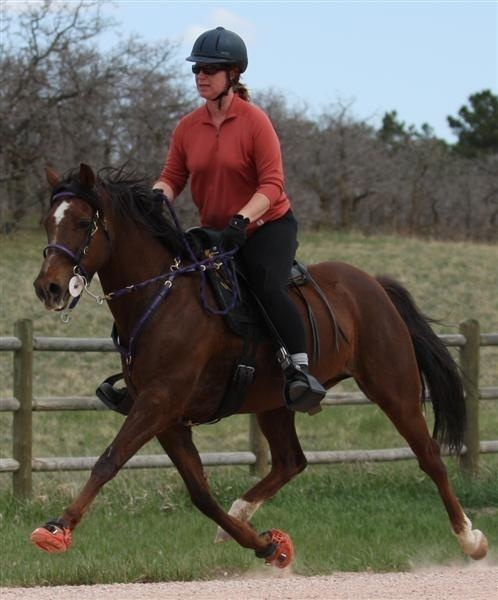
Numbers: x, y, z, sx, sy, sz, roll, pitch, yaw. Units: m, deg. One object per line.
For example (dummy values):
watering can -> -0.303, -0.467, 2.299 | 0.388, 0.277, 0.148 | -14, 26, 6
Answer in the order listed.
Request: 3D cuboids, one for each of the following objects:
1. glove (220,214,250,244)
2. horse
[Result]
glove -> -0.077, -0.427, 6.213 | 0.145, 0.186, 0.070 | 16, -23, 31
horse -> 0.098, 0.606, 6.824 | 3.981, 2.346, 0.907 | 8, -14, -42
